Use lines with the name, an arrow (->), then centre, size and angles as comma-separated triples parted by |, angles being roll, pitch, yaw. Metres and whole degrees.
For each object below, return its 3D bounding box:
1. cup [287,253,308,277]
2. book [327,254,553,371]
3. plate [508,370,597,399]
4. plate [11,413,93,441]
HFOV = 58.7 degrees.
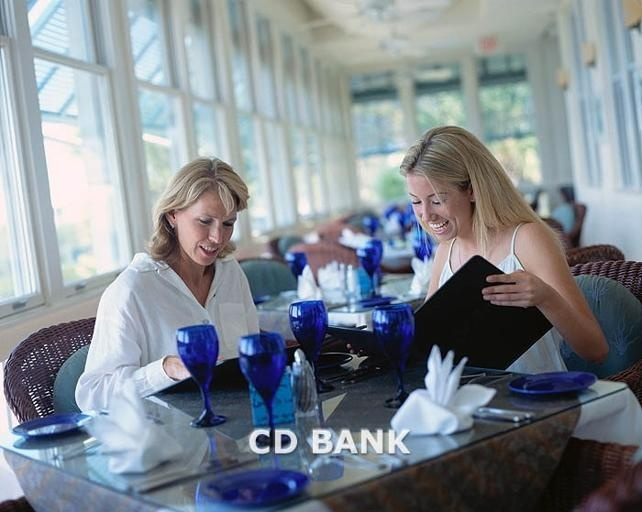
cup -> -0.116, 0.049, 2.928 | 0.113, 0.122, 0.109 | 1, -8, 0
book -> 0.399, 0.145, 1.436 | 0.374, 0.311, 0.114 | -6, 9, -8
plate -> 0.498, 0.274, 1.231 | 0.168, 0.027, 0.176 | -1, 8, 29
plate -> -0.602, 0.382, 1.278 | 0.173, 0.018, 0.107 | -5, 7, 1
